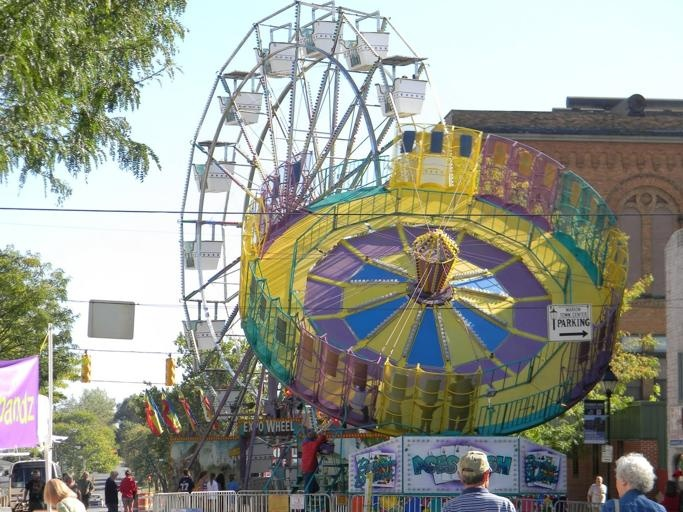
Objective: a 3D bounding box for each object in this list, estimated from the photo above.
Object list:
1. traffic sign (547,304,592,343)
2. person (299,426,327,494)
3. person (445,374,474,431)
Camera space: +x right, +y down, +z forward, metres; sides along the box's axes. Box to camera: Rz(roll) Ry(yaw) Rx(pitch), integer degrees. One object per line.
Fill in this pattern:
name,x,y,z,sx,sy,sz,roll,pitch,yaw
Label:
traffic sign,8.212,2.401,67.381,1.853,1.359,0.197,-4,-3,39
person,-0.968,7.400,67.907,0.871,2.273,1.317,1,-11,-1
person,4.200,5.151,66.043,0.924,1.818,1.467,0,-11,2
